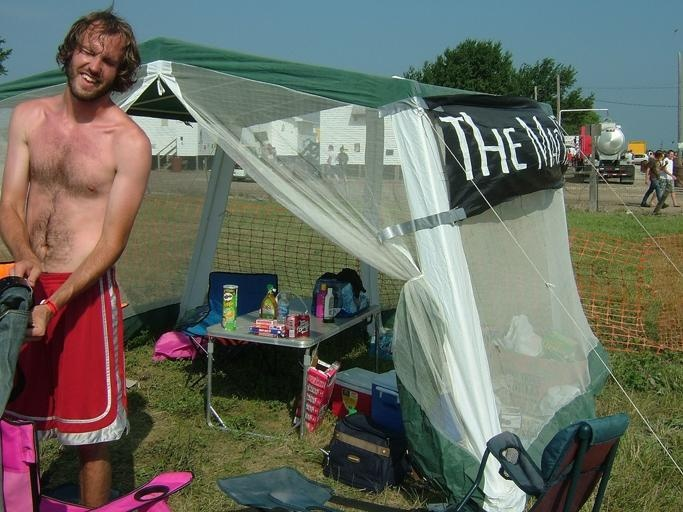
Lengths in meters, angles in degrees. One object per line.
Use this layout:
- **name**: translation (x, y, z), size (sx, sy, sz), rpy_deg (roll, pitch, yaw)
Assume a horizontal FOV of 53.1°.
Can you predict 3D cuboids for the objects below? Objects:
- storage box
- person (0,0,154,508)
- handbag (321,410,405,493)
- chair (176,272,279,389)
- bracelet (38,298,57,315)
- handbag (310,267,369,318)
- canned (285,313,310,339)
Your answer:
- **storage box**: translation (0.204, 1.000, 4.836), size (0.330, 0.281, 0.540), rpy_deg (-6, 9, -38)
- **person**: translation (-1.238, 0.062, 3.199), size (0.728, 2.334, 0.633), rpy_deg (-4, 14, -12)
- **handbag**: translation (0.146, 1.272, 4.395), size (0.432, 0.332, 0.381), rpy_deg (12, -11, 23)
- **chair**: translation (-1.064, 0.583, 5.923), size (0.537, 0.656, 0.493), rpy_deg (24, -4, 27)
- **bracelet**: translation (-1.277, 0.213, 2.968), size (0.062, 0.067, 0.026), rpy_deg (22, 42, 24)
- **handbag**: translation (-0.007, 0.250, 5.531), size (0.321, 0.319, 0.426), rpy_deg (0, 3, 20)
- **canned**: translation (-0.308, 0.491, 4.987), size (0.137, 0.272, 0.196), rpy_deg (0, 1, 27)
